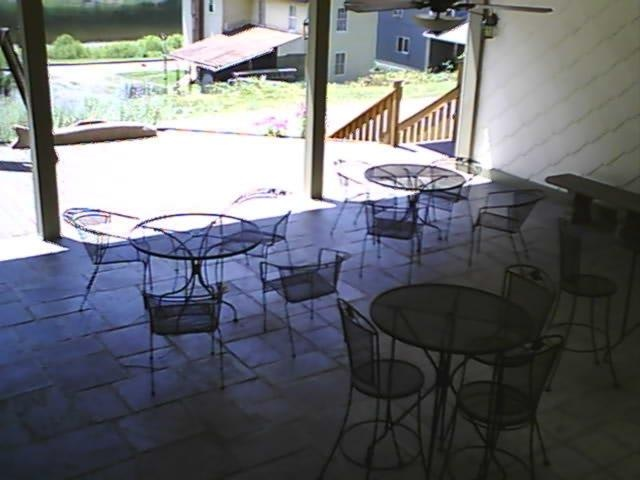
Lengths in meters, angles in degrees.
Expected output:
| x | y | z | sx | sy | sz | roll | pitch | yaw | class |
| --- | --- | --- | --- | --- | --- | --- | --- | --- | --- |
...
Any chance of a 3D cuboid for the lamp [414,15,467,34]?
| x | y | z | sx | sy | sz | roll | pitch | yaw | class |
| --- | --- | --- | --- | --- | --- | --- | --- | --- | --- |
| 0.962 | -1.670 | 4.419 | 0.382 | 0.167 | 0.404 | 13 | 28 | 20 | lamp |
